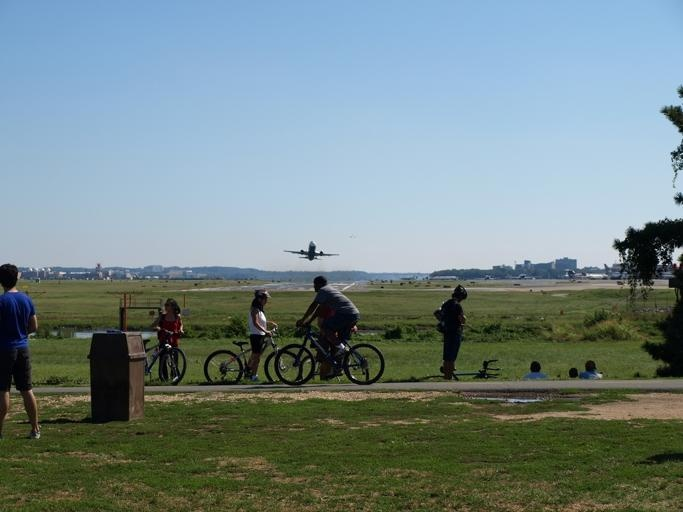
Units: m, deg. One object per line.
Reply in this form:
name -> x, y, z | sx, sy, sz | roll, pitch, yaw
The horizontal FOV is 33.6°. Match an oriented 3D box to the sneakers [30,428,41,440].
sneakers -> -6.531, 3.843, 24.498 | 0.287, 0.213, 0.162 | -2, -4, 27
